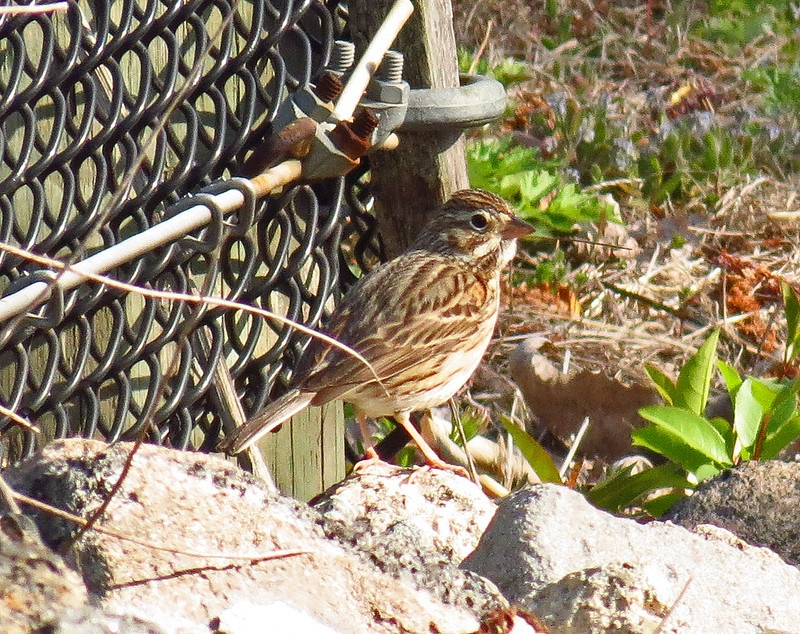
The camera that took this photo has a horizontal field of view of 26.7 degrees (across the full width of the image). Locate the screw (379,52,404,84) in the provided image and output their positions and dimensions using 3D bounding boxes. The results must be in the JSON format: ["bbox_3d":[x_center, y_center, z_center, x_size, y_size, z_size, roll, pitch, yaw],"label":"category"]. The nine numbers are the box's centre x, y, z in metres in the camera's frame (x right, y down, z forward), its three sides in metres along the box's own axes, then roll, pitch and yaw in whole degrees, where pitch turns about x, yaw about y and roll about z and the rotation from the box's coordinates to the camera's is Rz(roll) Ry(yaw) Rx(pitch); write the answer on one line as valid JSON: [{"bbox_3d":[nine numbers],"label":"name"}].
[{"bbox_3d":[-0.034,-0.922,6.150,0.084,0.117,0.096,0,19,-3],"label":"screw"}]
